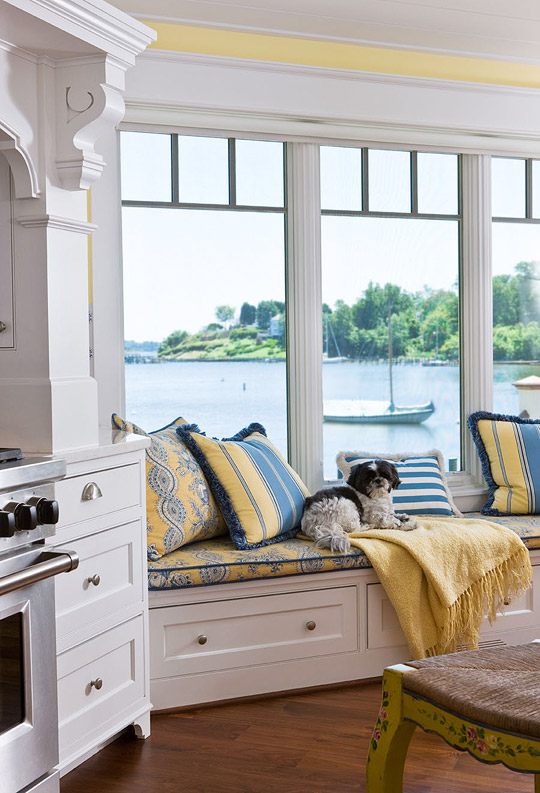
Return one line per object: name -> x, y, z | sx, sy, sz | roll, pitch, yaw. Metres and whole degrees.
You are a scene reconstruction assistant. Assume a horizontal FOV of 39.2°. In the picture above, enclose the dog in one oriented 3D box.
dog -> 0.326, 0.396, 2.823 | 0.335, 0.180, 0.337 | -4, 3, -5
